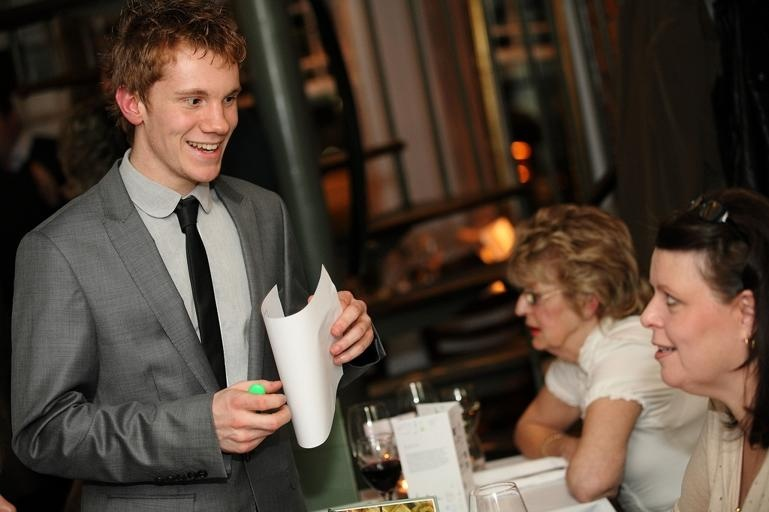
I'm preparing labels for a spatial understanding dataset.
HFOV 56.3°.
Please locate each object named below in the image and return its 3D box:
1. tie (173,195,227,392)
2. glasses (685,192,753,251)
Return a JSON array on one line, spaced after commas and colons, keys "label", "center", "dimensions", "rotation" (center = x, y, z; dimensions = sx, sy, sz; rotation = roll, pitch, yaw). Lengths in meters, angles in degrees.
[{"label": "tie", "center": [-0.543, 0.090, 2.135], "dimensions": [0.103, 0.689, 0.071], "rotation": [-6, -12, -27]}, {"label": "glasses", "center": [0.912, -0.107, 1.948], "dimensions": [0.185, 0.052, 0.157], "rotation": [20, 12, -15]}]
